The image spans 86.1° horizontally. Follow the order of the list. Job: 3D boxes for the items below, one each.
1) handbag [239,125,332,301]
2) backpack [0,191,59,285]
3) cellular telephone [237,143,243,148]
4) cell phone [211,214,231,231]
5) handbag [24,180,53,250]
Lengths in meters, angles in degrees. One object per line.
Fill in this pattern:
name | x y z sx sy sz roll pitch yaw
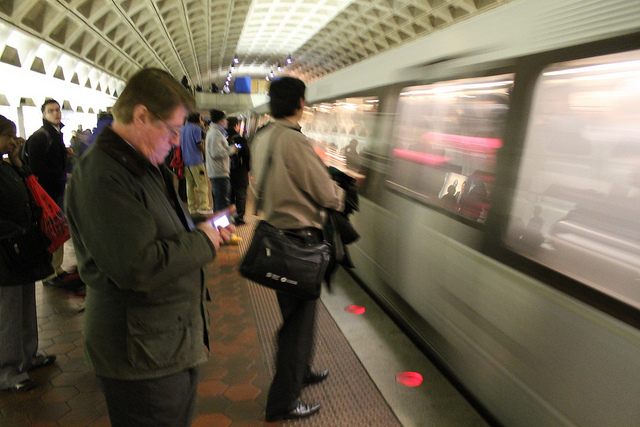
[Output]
handbag | -0.216 -0.011 2.656 0.671 1.292 0.547 5 16 2
backpack | -2.856 0.269 3.453 0.322 0.945 0.758 0 17 -17
cellular telephone | -1.790 -1.494 7.511 0.031 0.113 0.130 4 8 43
cell phone | -0.673 0.056 2.309 0.031 0.074 0.125 -4 3 22
handbag | -2.786 0.014 3.369 0.123 0.577 0.496 -9 21 -40
